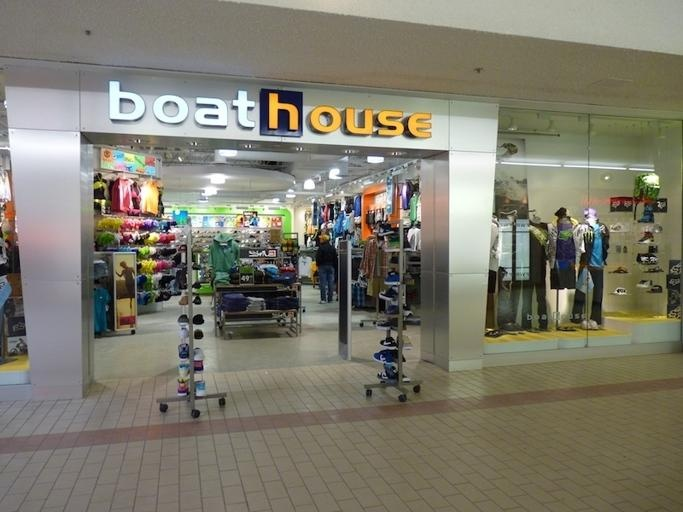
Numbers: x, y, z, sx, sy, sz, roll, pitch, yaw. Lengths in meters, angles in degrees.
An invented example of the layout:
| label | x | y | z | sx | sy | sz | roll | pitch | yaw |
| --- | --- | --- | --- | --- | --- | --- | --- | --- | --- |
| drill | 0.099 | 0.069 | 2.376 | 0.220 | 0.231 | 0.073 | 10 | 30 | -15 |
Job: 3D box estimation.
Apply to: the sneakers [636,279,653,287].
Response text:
| label | x | y | z | sx | sy | sz | roll | pitch | yaw |
| --- | --- | --- | --- | --- | --- | --- | --- | --- | --- |
| sneakers | 4.692 | 0.423 | 7.922 | 0.329 | 0.110 | 0.101 | 4 | -4 | -16 |

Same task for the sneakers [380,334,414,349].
| label | x | y | z | sx | sy | sz | roll | pitch | yaw |
| --- | --- | --- | --- | --- | --- | --- | --- | --- | --- |
| sneakers | 0.621 | 1.015 | 5.942 | 0.307 | 0.090 | 0.235 | 0 | -1 | 26 |

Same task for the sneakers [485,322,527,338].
| label | x | y | z | sx | sy | sz | roll | pitch | yaw |
| --- | --- | --- | --- | --- | --- | --- | --- | --- | --- |
| sneakers | 2.307 | 1.039 | 7.165 | 0.625 | 0.187 | 0.108 | -2 | 5 | -17 |

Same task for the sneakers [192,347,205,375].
| label | x | y | z | sx | sy | sz | roll | pitch | yaw |
| --- | --- | --- | --- | --- | --- | --- | --- | --- | --- |
| sneakers | -1.549 | 1.130 | 5.499 | 0.083 | 0.297 | 0.188 | -1 | 5 | -9 |

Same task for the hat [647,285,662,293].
| label | x | y | z | sx | sy | sz | roll | pitch | yaw |
| --- | --- | --- | --- | --- | --- | --- | --- | --- | --- |
| hat | 4.880 | 0.520 | 7.898 | 0.146 | 0.094 | 0.139 | 0 | -5 | 3 |

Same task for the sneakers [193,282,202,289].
| label | x | y | z | sx | sy | sz | roll | pitch | yaw |
| --- | --- | --- | --- | --- | --- | --- | --- | --- | --- |
| sneakers | -1.497 | 0.309 | 5.260 | 0.118 | 0.070 | 0.067 | -1 | 2 | 29 |

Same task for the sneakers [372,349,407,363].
| label | x | y | z | sx | sy | sz | roll | pitch | yaw |
| --- | --- | --- | --- | --- | --- | --- | --- | --- | --- |
| sneakers | 0.520 | 1.172 | 5.990 | 0.264 | 0.179 | 0.179 | 2 | 5 | 24 |

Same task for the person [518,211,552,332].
| label | x | y | z | sx | sy | sz | roll | pitch | yaw |
| --- | --- | --- | --- | --- | --- | --- | --- | --- | --- |
| person | 2.782 | 0.285 | 7.290 | 0.449 | 1.556 | 0.129 | -1 | 5 | -13 |

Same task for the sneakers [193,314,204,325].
| label | x | y | z | sx | sy | sz | roll | pitch | yaw |
| --- | --- | --- | --- | --- | --- | --- | --- | --- | --- |
| sneakers | -1.539 | 0.682 | 5.459 | 0.087 | 0.103 | 0.204 | -1 | 5 | -5 |

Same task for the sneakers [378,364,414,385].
| label | x | y | z | sx | sy | sz | roll | pitch | yaw |
| --- | --- | --- | --- | --- | --- | --- | --- | --- | --- |
| sneakers | 0.569 | 1.403 | 6.077 | 0.168 | 0.231 | 0.544 | 3 | -6 | -28 |

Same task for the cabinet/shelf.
| label | x | y | z | sx | sy | sz | roll | pitch | yaw |
| --- | --- | --- | --- | --- | --- | --- | --- | --- | --- |
| cabinet/shelf | -1.336 | 0.789 | 9.419 | 1.443 | 0.788 | 1.390 | -4 | 8 | 12 |

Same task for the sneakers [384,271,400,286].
| label | x | y | z | sx | sy | sz | roll | pitch | yaw |
| --- | --- | --- | --- | --- | --- | --- | --- | --- | --- |
| sneakers | 0.593 | 0.273 | 6.056 | 0.266 | 0.120 | 0.356 | 0 | 1 | -4 |

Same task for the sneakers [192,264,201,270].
| label | x | y | z | sx | sy | sz | roll | pitch | yaw |
| --- | --- | --- | --- | --- | --- | --- | --- | --- | --- |
| sneakers | -1.547 | 0.117 | 5.440 | 0.094 | 0.042 | 0.123 | 2 | 1 | -1 |

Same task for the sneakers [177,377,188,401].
| label | x | y | z | sx | sy | sz | roll | pitch | yaw |
| --- | --- | --- | --- | --- | --- | --- | --- | --- | --- |
| sneakers | -1.704 | 1.403 | 5.467 | 0.114 | 0.187 | 0.255 | -2 | 5 | -20 |

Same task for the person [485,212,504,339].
| label | x | y | z | sx | sy | sz | roll | pitch | yaw |
| --- | --- | --- | --- | --- | --- | --- | --- | --- | --- |
| person | 2.130 | 0.268 | 7.122 | 0.220 | 1.703 | 0.229 | 0 | 5 | 6 |

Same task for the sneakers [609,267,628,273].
| label | x | y | z | sx | sy | sz | roll | pitch | yaw |
| --- | --- | --- | --- | --- | --- | --- | --- | --- | --- |
| sneakers | 4.166 | 0.204 | 7.742 | 0.349 | 0.121 | 0.099 | 3 | 0 | -4 |

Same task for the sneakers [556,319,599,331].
| label | x | y | z | sx | sy | sz | roll | pitch | yaw |
| --- | --- | --- | --- | --- | --- | --- | --- | --- | --- |
| sneakers | 3.473 | 1.032 | 7.484 | 0.385 | 0.106 | 0.273 | -1 | 1 | -13 |

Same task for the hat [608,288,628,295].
| label | x | y | z | sx | sy | sz | roll | pitch | yaw |
| --- | --- | --- | --- | --- | --- | --- | --- | --- | --- |
| hat | 4.243 | 0.542 | 7.745 | 0.135 | 0.066 | 0.181 | -1 | 2 | -9 |

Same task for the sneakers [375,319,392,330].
| label | x | y | z | sx | sy | sz | roll | pitch | yaw |
| --- | --- | --- | --- | --- | --- | --- | --- | --- | --- |
| sneakers | 0.456 | 0.814 | 5.988 | 0.235 | 0.094 | 0.087 | 8 | 2 | 29 |

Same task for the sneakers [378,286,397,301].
| label | x | y | z | sx | sy | sz | roll | pitch | yaw |
| --- | --- | --- | --- | --- | --- | --- | --- | --- | --- |
| sneakers | 0.558 | 0.446 | 6.045 | 0.158 | 0.186 | 0.357 | -2 | 5 | -23 |

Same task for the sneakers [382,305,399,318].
| label | x | y | z | sx | sy | sz | roll | pitch | yaw |
| --- | --- | --- | --- | --- | --- | --- | --- | --- | --- |
| sneakers | 0.588 | 0.652 | 6.014 | 0.081 | 0.089 | 0.208 | 1 | 3 | -5 |
